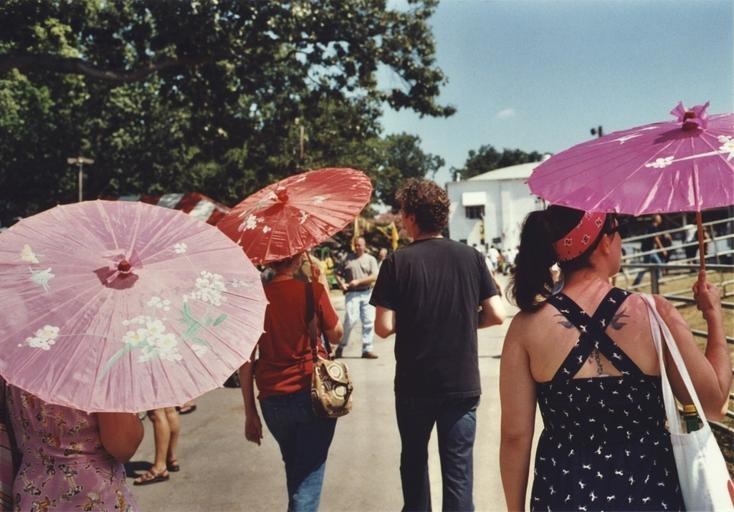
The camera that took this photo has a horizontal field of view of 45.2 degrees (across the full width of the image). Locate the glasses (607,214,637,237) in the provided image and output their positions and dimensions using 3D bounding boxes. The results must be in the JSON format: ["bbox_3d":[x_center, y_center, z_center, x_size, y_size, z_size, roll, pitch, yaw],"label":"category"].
[{"bbox_3d":[1.575,-0.200,5.431,0.146,0.159,0.060,0,5,42],"label":"glasses"}]

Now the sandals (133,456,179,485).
[{"bbox_3d":[-1.977,2.023,8.284,0.420,0.170,0.157,0,-2,-12],"label":"sandals"}]

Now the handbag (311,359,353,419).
[{"bbox_3d":[-0.249,0.952,6.417,0.310,0.399,0.223,0,-29,-27],"label":"handbag"}]

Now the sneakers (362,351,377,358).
[{"bbox_3d":[0.042,1.461,13.219,0.096,0.078,0.177,2,-7,-39],"label":"sneakers"}]
